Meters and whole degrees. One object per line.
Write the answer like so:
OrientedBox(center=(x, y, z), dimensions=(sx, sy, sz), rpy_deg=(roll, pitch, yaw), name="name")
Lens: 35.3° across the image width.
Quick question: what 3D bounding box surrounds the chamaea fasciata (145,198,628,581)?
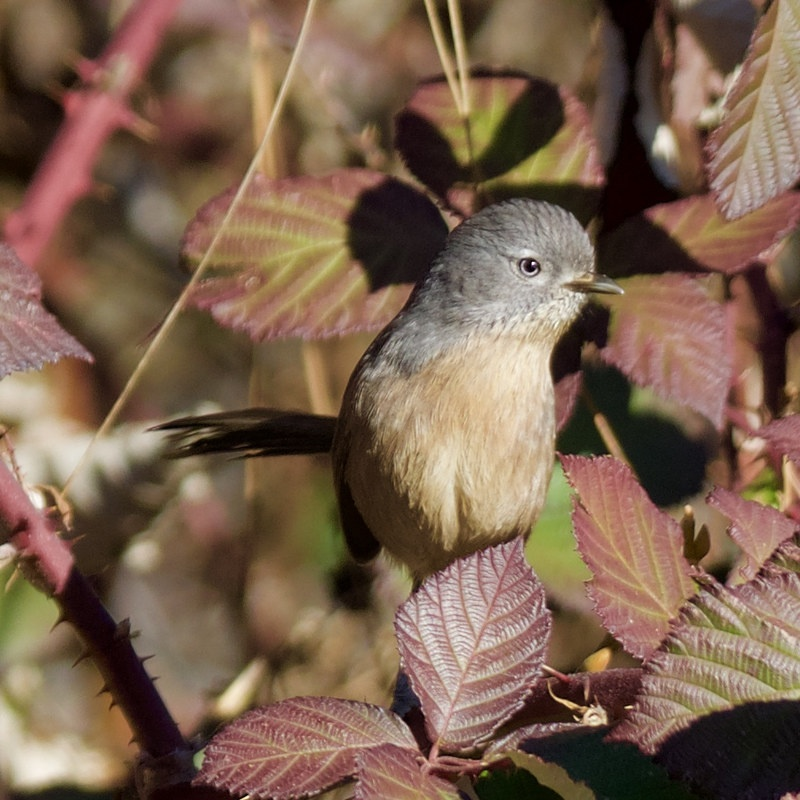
OrientedBox(center=(0.115, 0.017, 1.766), dimensions=(0.288, 0.538, 0.538), rpy_deg=(0, -2, -27), name="chamaea fasciata")
